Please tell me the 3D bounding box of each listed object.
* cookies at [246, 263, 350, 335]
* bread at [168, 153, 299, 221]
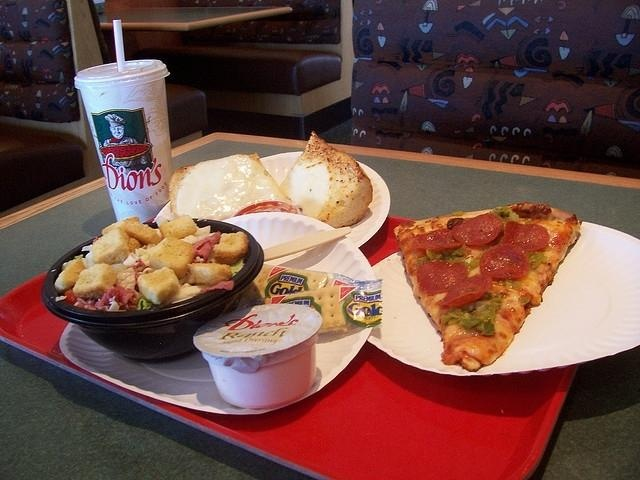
[{"bbox_3d":[-0.034,0.086,0.713,0.124,0.026,0.108,-4,25,-2],"label":"cookies"},{"bbox_3d":[-0.175,-0.106,0.970,0.202,0.053,0.167,-19,53,-11],"label":"bread"}]
